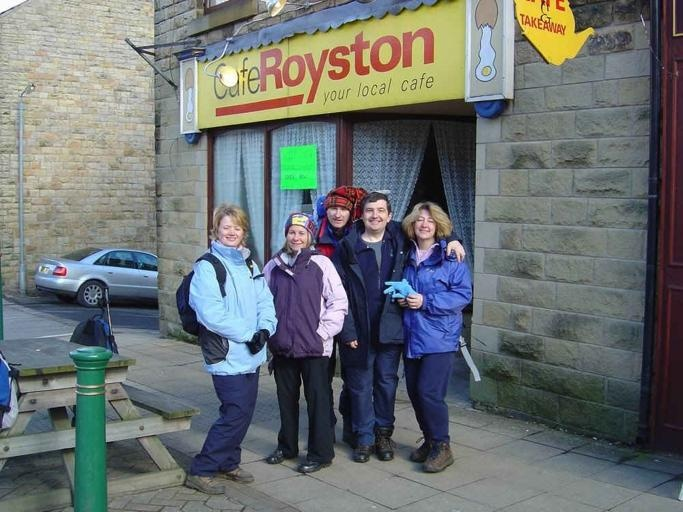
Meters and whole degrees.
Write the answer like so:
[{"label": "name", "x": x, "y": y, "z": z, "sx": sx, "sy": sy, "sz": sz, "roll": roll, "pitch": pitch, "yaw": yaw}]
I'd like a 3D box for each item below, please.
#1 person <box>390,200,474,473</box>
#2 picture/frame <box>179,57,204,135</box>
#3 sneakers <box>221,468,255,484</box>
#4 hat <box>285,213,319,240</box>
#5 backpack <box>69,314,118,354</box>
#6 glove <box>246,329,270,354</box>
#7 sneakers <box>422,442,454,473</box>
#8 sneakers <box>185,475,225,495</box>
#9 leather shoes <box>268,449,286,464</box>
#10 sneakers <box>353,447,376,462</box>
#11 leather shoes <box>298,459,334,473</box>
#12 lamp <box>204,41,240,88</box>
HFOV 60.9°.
[{"label": "person", "x": 0.743, "y": 0.636, "z": 4.670, "sx": 0.571, "sy": 2.140, "sz": 0.367, "roll": 0, "pitch": 3, "yaw": 8}, {"label": "picture/frame", "x": -2.448, "y": -2.638, "z": 9.450, "sx": 0.459, "sy": 1.090, "sz": 0.109, "roll": 3, "pitch": 4, "yaw": 37}, {"label": "sneakers", "x": -0.792, "y": 1.665, "z": 4.465, "sx": 0.225, "sy": 0.082, "sz": 0.100, "roll": 2, "pitch": 2, "yaw": 19}, {"label": "hat", "x": -0.338, "y": -0.251, "z": 4.713, "sx": 0.180, "sy": 0.178, "sz": 0.234, "roll": -2, "pitch": -19, "yaw": 9}, {"label": "backpack", "x": -2.104, "y": 0.684, "z": 4.760, "sx": 0.234, "sy": 0.307, "sz": 0.265, "roll": 11, "pitch": -8, "yaw": -3}, {"label": "glove", "x": -0.594, "y": 0.615, "z": 4.217, "sx": 0.081, "sy": 0.174, "sz": 0.126, "roll": 21, "pitch": -28, "yaw": 33}, {"label": "sneakers", "x": 0.772, "y": 1.585, "z": 4.643, "sx": 0.200, "sy": 0.226, "sz": 0.265, "roll": 1, "pitch": 3, "yaw": 21}, {"label": "sneakers", "x": -0.995, "y": 1.673, "z": 4.324, "sx": 0.288, "sy": 0.140, "sz": 0.116, "roll": 8, "pitch": 1, "yaw": 18}, {"label": "leather shoes", "x": -0.536, "y": 1.635, "z": 4.752, "sx": 0.077, "sy": 0.060, "sz": 0.141, "roll": 1, "pitch": -3, "yaw": 23}, {"label": "sneakers", "x": 0.191, "y": 1.624, "z": 4.815, "sx": 0.192, "sy": 0.081, "sz": 0.074, "roll": -8, "pitch": 17, "yaw": -28}, {"label": "leather shoes", "x": -0.199, "y": 1.633, "z": 4.593, "sx": 0.249, "sy": 0.106, "sz": 0.097, "roll": 6, "pitch": 0, "yaw": -25}, {"label": "lamp", "x": -1.716, "y": -2.877, "z": 8.710, "sx": 0.296, "sy": 0.720, "sz": 0.397, "roll": -6, "pitch": 8, "yaw": -44}]
